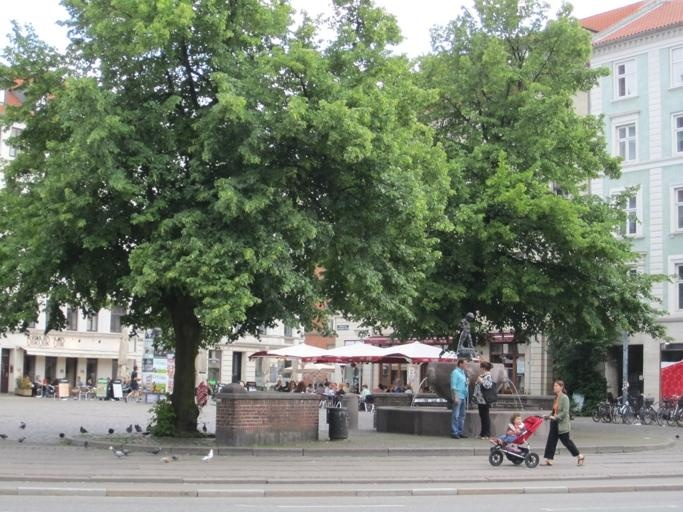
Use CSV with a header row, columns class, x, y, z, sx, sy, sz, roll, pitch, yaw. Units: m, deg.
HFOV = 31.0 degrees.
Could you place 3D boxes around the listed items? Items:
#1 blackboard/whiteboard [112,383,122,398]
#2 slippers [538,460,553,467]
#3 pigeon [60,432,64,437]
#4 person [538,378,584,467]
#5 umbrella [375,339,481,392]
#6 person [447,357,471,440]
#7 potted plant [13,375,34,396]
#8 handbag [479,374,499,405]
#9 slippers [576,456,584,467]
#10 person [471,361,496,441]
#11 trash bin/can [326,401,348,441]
class,x,y,z,sx,sy,sz,roll,pitch,yaw
blackboard/whiteboard,-11.484,6.981,63.355,0.526,0.990,0.539,-2,-30,-17
slippers,5.564,5.635,33.333,0.271,0.109,0.151,1,-5,28
pigeon,-8.356,5.423,37.083,0.167,0.073,0.193,0,-3,-12
person,6.013,4.632,33.598,0.994,2.526,0.815,0,-10,2
umbrella,3.509,4.382,49.252,4.343,1.610,4.075,1,-1,-16
person,3.552,4.304,37.171,0.493,2.392,1.386,3,-10,6
potted plant,-17.487,7.371,68.330,0.981,1.434,1.383,5,-7,-20
handbag,4.403,3.983,36.563,0.382,0.879,0.681,-2,-12,33
slippers,6.519,5.620,33.532,0.112,0.136,0.350,-6,-24,-2
person,4.349,4.336,36.685,0.547,2.282,0.696,1,-2,-29
trash bin/can,-0.082,5.220,37.961,0.873,1.207,0.833,0,-10,1
